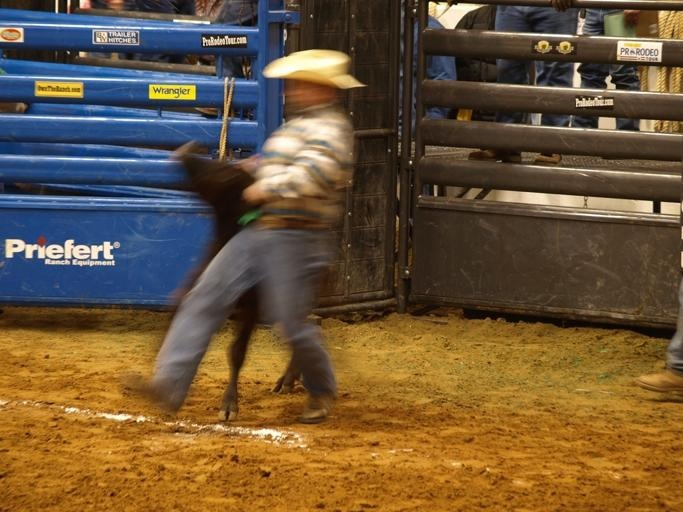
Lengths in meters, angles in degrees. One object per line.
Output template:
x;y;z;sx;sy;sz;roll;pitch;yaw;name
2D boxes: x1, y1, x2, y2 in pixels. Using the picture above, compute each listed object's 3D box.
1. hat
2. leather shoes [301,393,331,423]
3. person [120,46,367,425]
-0.176;-1.111;4.106;0.484;0.101;0.320;4;9;12;hat
-0.236;0.991;4.475;0.283;0.140;0.129;1;1;-24;leather shoes
-0.502;-0.076;4.218;1.212;2.336;0.522;-2;16;-16;person
